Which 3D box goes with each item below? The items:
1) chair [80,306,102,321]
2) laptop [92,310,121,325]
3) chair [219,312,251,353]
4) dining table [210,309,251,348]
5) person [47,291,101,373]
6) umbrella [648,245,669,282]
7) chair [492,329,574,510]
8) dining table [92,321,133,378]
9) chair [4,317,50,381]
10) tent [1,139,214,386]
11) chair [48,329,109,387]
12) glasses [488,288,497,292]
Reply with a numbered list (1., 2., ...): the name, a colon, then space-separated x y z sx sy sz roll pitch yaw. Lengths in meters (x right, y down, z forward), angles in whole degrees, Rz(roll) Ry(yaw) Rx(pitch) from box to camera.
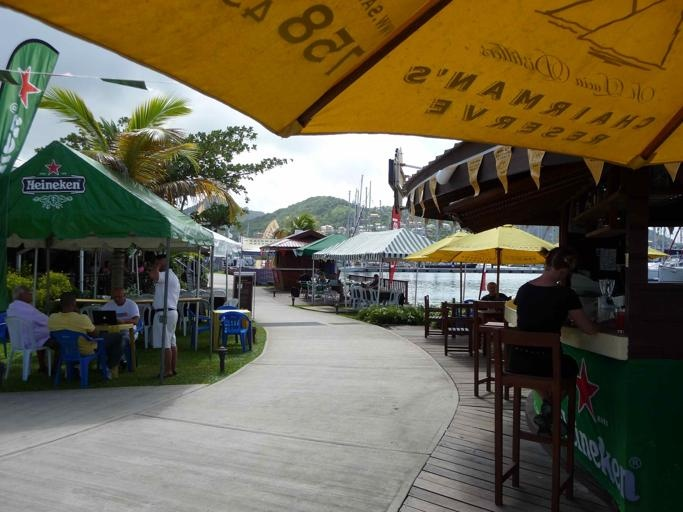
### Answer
1. chair: -4.786 1.114 10.469 0.295 0.338 0.213 1 5 14
2. laptop: -4.162 1.071 9.690 0.351 0.260 0.265 2 7 3
3. chair: -2.402 1.711 12.730 0.805 1.256 0.902 1 1 0
4. dining table: -2.522 1.713 12.619 0.847 1.318 0.940 1 7 -6
5. person: -4.387 1.167 9.253 0.940 1.529 0.903 2 4 -1
6. umbrella: 3.117 0.070 5.409 0.130 0.383 1.046 -2 -4 31
7. chair: 1.908 1.548 5.461 0.811 1.672 1.227 -2 -3 18
8. dining table: -4.043 1.632 9.753 0.747 0.981 0.940 -3 5 -33
9. chair: -5.605 1.623 9.747 0.656 1.061 1.606 1 -4 -32
10. tent: -4.320 0.024 10.544 3.753 3.515 4.170 1 1 5
11. chair: -4.452 1.701 9.309 0.869 0.922 1.189 0 -4 -13
12. glasses: 3.631 0.828 13.251 0.090 0.081 0.101 11 -10 -28
